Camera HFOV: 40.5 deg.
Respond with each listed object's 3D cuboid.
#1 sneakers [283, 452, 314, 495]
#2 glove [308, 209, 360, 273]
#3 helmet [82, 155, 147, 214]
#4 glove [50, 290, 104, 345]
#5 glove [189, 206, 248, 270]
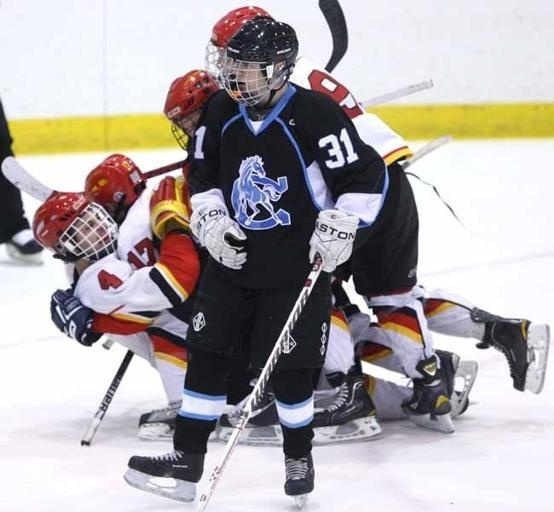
[{"bbox_3d":[0.063,0.624,2.092,0.080,0.111,0.134,-1,11,2],"label":"sneakers"},{"bbox_3d":[0.154,-0.040,2.017,0.131,0.168,0.061,-1,12,3],"label":"glove"},{"bbox_3d":[-0.608,-0.279,2.886,0.182,0.219,0.243,-49,27,-12],"label":"helmet"},{"bbox_3d":[-0.683,0.198,2.615,0.209,0.157,0.093,40,38,23],"label":"glove"},{"bbox_3d":[-0.152,-0.055,2.168,0.203,0.121,0.069,46,3,28],"label":"glove"}]
